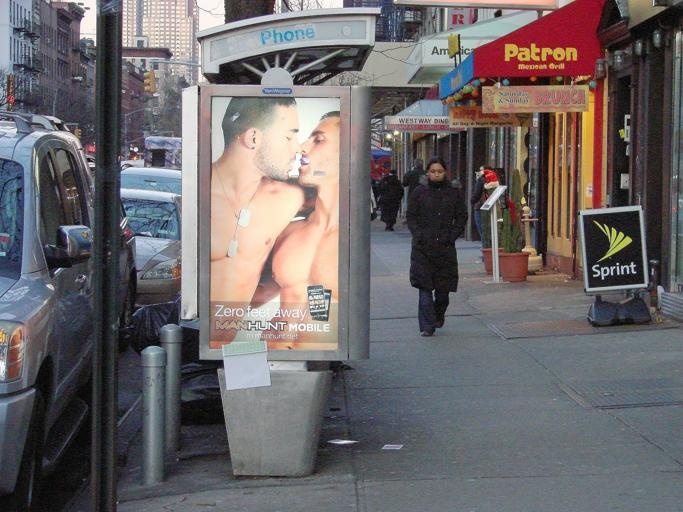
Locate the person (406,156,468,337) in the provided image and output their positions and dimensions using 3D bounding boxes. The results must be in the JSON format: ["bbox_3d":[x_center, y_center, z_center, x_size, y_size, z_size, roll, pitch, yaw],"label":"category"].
[{"bbox_3d":[1.119,-0.105,9.773,0.690,2.107,0.382,1,6,8],"label":"person"}]
